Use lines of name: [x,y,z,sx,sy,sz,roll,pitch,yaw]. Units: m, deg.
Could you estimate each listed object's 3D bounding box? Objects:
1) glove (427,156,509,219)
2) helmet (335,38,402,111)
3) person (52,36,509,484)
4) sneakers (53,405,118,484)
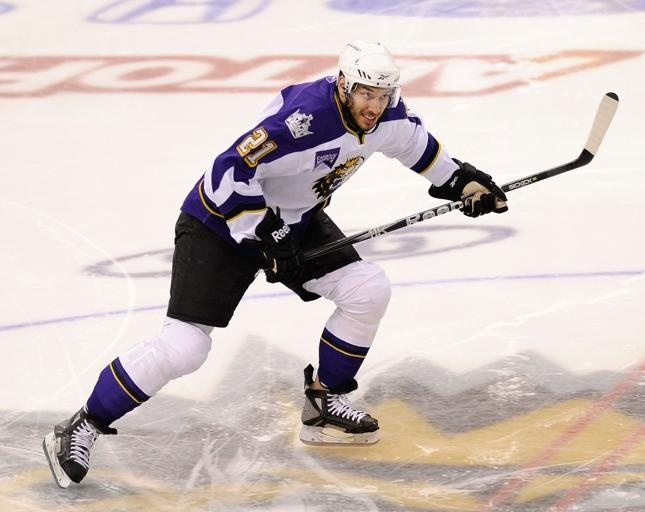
glove: [0.637,-0.288,3.054,0.374,0.241,0.152,35,-2,3]
helmet: [0.181,-0.691,2.679,0.256,0.206,0.217,-13,48,-25]
person: [-0.095,0.008,2.764,1.949,1.690,0.805,-1,30,-17]
sneakers: [-0.913,0.730,2.730,0.334,0.104,0.360,-19,23,-4]
